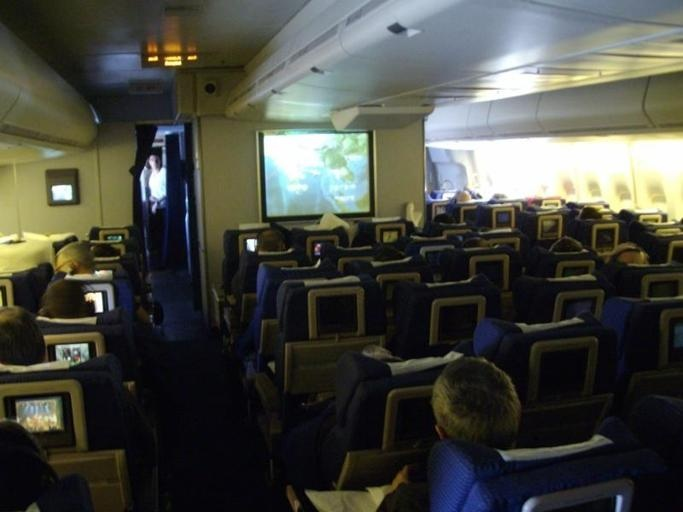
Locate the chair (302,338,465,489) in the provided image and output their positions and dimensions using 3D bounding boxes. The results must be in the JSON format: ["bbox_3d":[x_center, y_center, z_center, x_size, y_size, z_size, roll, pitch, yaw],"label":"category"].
[{"bbox_3d":[0.143,0.693,2.656,0.479,0.667,0.700,-2,7,-16],"label":"chair"}]

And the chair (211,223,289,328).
[{"bbox_3d":[-1.055,0.226,6.473,0.886,1.350,1.093,-9,6,-25],"label":"chair"}]

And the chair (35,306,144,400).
[{"bbox_3d":[-1.417,0.399,3.344,0.560,0.518,0.565,-12,41,-24],"label":"chair"}]

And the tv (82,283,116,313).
[{"bbox_3d":[-1.778,0.301,4.110,0.196,0.296,0.233,-2,6,-31],"label":"tv"}]

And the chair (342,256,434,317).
[{"bbox_3d":[0.379,0.180,4.253,0.598,0.489,0.571,7,23,9],"label":"chair"}]

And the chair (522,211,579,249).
[{"bbox_3d":[2.794,-0.497,7.709,0.480,0.470,0.502,-3,21,11],"label":"chair"}]

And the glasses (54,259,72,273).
[{"bbox_3d":[-2.323,0.078,4.731,0.123,0.112,0.105,-3,-4,32],"label":"glasses"}]

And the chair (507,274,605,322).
[{"bbox_3d":[1.352,0.212,3.516,0.432,0.315,0.328,-2,17,-9],"label":"chair"}]

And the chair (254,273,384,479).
[{"bbox_3d":[0.022,0.983,3.626,0.701,0.964,1.191,-7,47,13],"label":"chair"}]

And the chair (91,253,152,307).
[{"bbox_3d":[-1.984,0.214,5.064,0.413,0.592,0.562,-5,25,-12],"label":"chair"}]

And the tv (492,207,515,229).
[{"bbox_3d":[2.349,-0.563,8.239,0.316,0.295,0.159,-1,3,-10],"label":"tv"}]

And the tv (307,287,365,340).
[{"bbox_3d":[-0.031,0.336,3.507,0.335,0.326,0.349,-2,8,0],"label":"tv"}]

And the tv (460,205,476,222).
[{"bbox_3d":[1.978,-0.686,8.907,0.303,0.215,0.168,-7,13,-25],"label":"tv"}]

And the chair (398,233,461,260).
[{"bbox_3d":[0.775,-0.105,5.017,0.308,0.222,0.237,-2,12,-12],"label":"chair"}]

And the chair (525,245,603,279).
[{"bbox_3d":[1.747,0.056,4.491,0.333,0.340,0.322,-1,12,-9],"label":"chair"}]

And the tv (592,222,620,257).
[{"bbox_3d":[3.072,-0.270,6.624,0.326,0.480,0.274,-3,32,18],"label":"tv"}]

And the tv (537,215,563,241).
[{"bbox_3d":[2.770,-0.395,7.612,0.316,0.332,0.337,1,9,7],"label":"tv"}]

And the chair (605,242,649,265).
[{"bbox_3d":[2.252,-0.020,4.432,0.199,0.202,0.152,-11,16,-35],"label":"chair"}]

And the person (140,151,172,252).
[{"bbox_3d":[-4.186,-1.222,12.673,0.421,2.444,0.731,-1,8,-11],"label":"person"}]

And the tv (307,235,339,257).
[{"bbox_3d":[-0.209,-0.136,5.758,0.346,0.249,0.192,-1,6,-18],"label":"tv"}]

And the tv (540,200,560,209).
[{"bbox_3d":[3.913,-0.970,10.533,0.366,0.118,1.581,4,10,21],"label":"tv"}]

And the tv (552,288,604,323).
[{"bbox_3d":[1.464,0.288,3.521,0.289,0.246,0.301,2,-11,-39],"label":"tv"}]

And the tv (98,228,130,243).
[{"bbox_3d":[-3.000,-0.285,7.430,0.390,0.299,0.391,1,0,-18],"label":"tv"}]

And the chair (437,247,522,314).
[{"bbox_3d":[0.945,0.167,3.870,0.426,0.420,0.238,-4,15,-12],"label":"chair"}]

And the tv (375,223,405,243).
[{"bbox_3d":[0.579,-0.253,6.431,0.260,0.266,0.082,0,16,-16],"label":"tv"}]

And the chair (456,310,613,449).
[{"bbox_3d":[0.955,0.587,2.818,0.512,0.711,0.662,-2,8,0],"label":"chair"}]

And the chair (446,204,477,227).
[{"bbox_3d":[1.789,-0.603,8.318,0.395,0.420,0.306,-1,16,-3],"label":"chair"}]

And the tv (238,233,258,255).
[{"bbox_3d":[-0.969,-0.136,5.802,0.200,0.287,0.140,-5,10,-37],"label":"tv"}]

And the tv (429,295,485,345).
[{"bbox_3d":[0.657,0.365,3.264,0.252,0.251,0.133,-6,18,-19],"label":"tv"}]

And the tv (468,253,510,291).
[{"bbox_3d":[1.090,0.048,4.397,0.262,0.354,0.343,-4,8,-24],"label":"tv"}]

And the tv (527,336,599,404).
[{"bbox_3d":[0.978,0.500,2.510,0.282,0.287,0.039,-5,21,-12],"label":"tv"}]

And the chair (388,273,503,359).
[{"bbox_3d":[0.673,0.472,3.505,0.680,0.671,0.393,-3,0,4],"label":"chair"}]
